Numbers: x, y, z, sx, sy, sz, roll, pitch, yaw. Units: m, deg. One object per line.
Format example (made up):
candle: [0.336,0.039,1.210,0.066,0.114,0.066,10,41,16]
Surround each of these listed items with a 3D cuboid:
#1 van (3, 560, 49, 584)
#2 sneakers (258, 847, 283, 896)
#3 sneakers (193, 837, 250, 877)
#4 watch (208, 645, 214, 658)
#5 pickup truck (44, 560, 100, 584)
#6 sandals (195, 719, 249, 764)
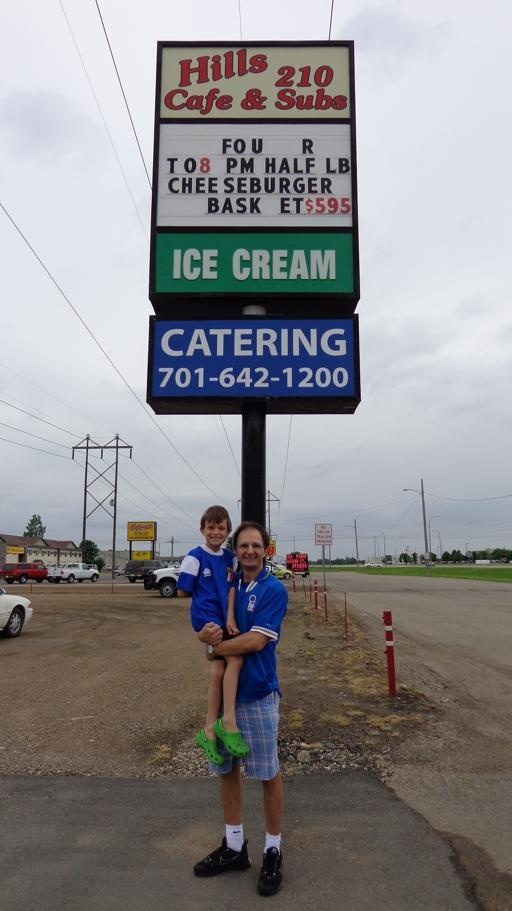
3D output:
van: [-18.526,9.484,48.261,3.674,1.556,2.184,8,-12,-44]
sneakers: [0.066,1.917,2.793,0.099,0.135,0.255,-2,-9,9]
sneakers: [-0.163,1.956,2.926,0.282,0.213,0.115,12,-30,-17]
watch: [-0.236,1.024,3.135,0.037,0.076,0.060,0,-6,2]
pickup truck: [-15.751,10.063,51.316,1.976,1.765,4.003,-4,-5,37]
sandals: [-0.168,1.408,2.929,0.158,0.117,0.272,-38,14,-31]
